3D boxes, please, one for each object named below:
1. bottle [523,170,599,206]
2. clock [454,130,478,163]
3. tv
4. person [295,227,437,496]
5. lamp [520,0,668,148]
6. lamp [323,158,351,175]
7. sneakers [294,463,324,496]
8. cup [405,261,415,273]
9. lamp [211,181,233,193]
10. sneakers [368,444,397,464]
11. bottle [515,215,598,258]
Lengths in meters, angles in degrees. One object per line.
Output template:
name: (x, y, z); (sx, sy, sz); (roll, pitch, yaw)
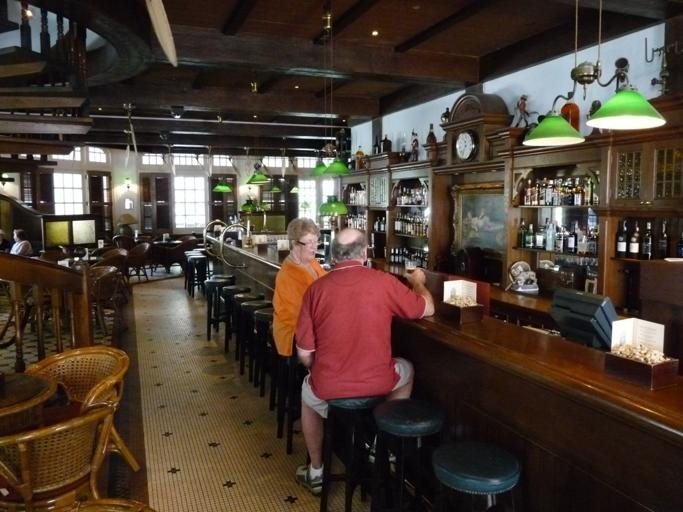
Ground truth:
bottle: (2.305, -0.691, 5.771); (0.425, 0.328, 0.872); (-3, 9, -19)
clock: (1.553, -1.351, 6.666); (0.086, 0.462, 0.460); (1, 0, -17)
tv: (1.491, 0.380, 3.337); (0.224, 0.322, 0.339); (0, 6, -25)
person: (0.142, 0.824, 3.761); (0.925, 2.013, 0.675); (-1, 8, -5)
lamp: (2.392, -1.709, 5.020); (1.367, 1.458, 0.910); (6, 11, 37)
lamp: (-0.045, -1.128, 7.005); (0.240, 0.174, 0.250); (5, 11, 25)
sneakers: (-0.255, 1.693, 4.203); (0.117, 0.157, 0.328); (0, 6, -28)
cup: (0.773, 0.114, 6.086); (0.105, 0.175, 0.109); (0, 5, 0)
lamp: (-3.487, -1.971, 15.597); (0.732, 0.331, 0.763); (2, 2, 18)
sneakers: (0.299, 1.458, 4.022); (0.218, 0.118, 0.305); (0, 1, 3)
bottle: (2.351, -0.223, 5.832); (0.306, 0.348, 0.948); (-4, 10, -28)
